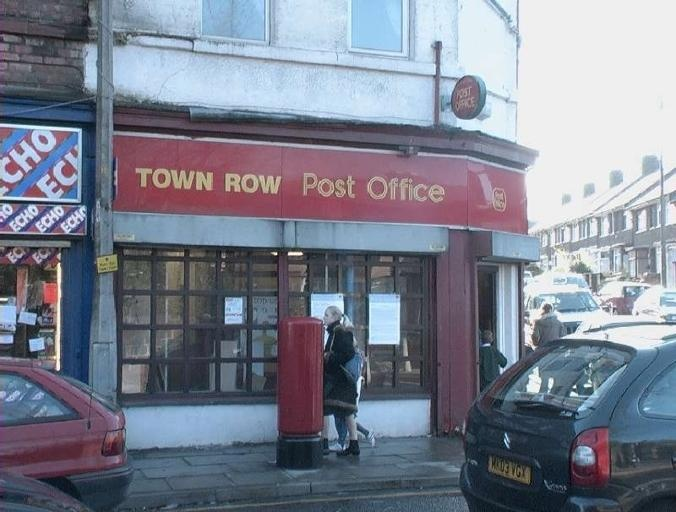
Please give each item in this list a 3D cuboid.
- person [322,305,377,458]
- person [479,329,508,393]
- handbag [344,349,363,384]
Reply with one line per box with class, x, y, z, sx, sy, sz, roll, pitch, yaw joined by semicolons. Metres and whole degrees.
person;0.184;1.779;12.277;0.667;2.116;0.988;2;4;17
person;2.526;1.783;13.935;0.506;0.379;1.375;7;-51;22
handbag;0.249;1.584;12.064;0.147;0.449;0.468;3;4;22
